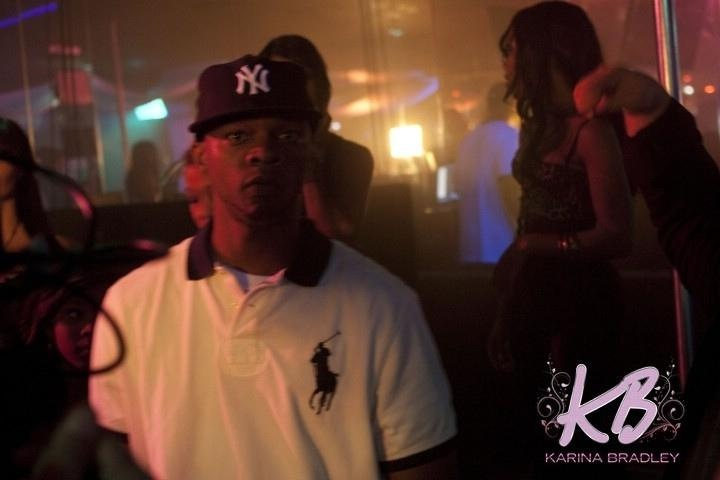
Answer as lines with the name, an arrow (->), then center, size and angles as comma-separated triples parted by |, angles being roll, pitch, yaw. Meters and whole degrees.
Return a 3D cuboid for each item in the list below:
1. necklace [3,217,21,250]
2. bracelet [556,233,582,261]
necklace -> -1.228, -0.017, 2.305 | 0.070, 0.092, 0.025 | 0, 7, 7
bracelet -> 0.663, 0.020, 2.062 | 0.074, 0.071, 0.074 | 2, 8, 20
